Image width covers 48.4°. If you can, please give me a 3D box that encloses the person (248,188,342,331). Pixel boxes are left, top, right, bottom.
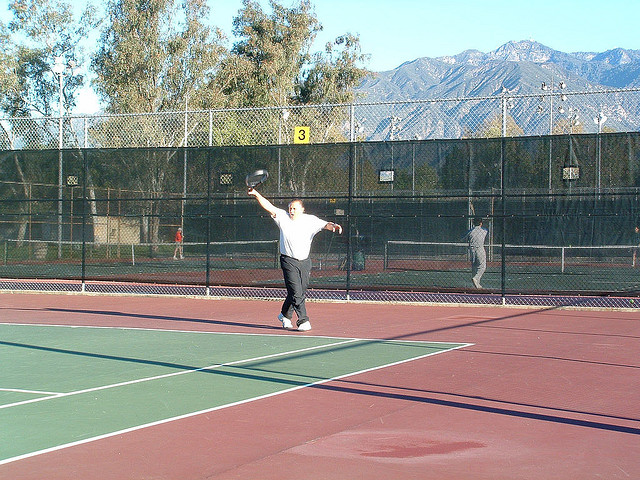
[{"bbox_3d":[-0.446,0.395,12.698,1.317,2.416,0.756,0,3,-5],"label":"person"}]

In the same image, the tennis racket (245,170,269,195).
[{"bbox_3d":[-1.119,-1.031,12.679,0.316,0.449,0.905,0,3,-1],"label":"tennis racket"}]
